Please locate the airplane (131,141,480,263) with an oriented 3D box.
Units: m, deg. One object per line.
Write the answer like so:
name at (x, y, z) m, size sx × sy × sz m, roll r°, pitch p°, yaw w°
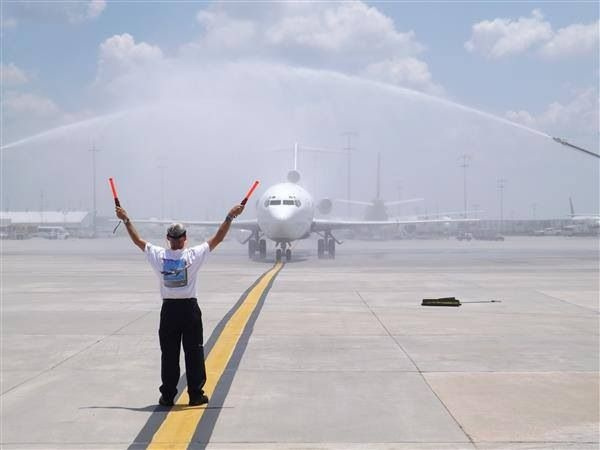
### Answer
airplane at (0.346, -0.626, 40.900) m, size 10.110 × 3.395 × 9.765 m, roll -5°, pitch -4°, yaw 18°
